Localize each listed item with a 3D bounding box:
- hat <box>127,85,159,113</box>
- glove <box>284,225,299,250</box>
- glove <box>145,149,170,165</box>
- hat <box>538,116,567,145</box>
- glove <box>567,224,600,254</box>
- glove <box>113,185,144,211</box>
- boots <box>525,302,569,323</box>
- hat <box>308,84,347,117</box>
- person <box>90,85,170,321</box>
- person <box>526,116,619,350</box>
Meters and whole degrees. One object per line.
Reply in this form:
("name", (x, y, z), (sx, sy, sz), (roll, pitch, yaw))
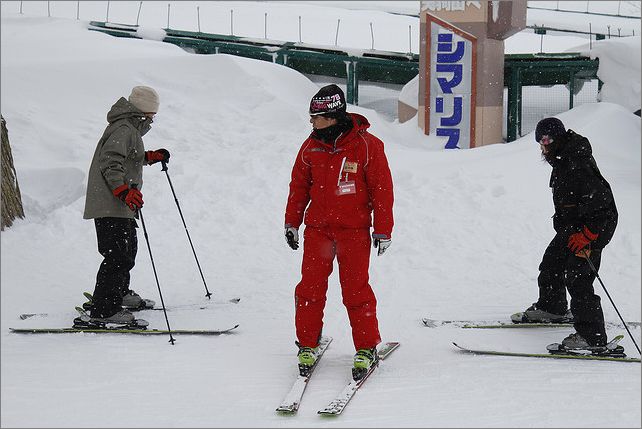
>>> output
("hat", (-2.423, -1.582, 11.698), (0.450, 0.398, 0.321), (13, 0, -28))
("glove", (-0.348, 0.298, 10.852), (0.234, 0.247, 0.096), (-2, 2, 24))
("glove", (-2.268, -0.826, 11.963), (0.293, 0.130, 0.202), (-5, 8, -33))
("hat", (3.079, -1.152, 11.352), (0.420, 0.346, 0.324), (-7, 19, 12))
("glove", (3.420, 0.309, 11.007), (0.256, 0.386, 0.142), (44, 4, 9))
("glove", (-2.581, -0.229, 11.402), (0.375, 0.359, 0.319), (2, 6, -12))
("boots", (3.133, 1.374, 11.892), (0.690, 0.282, 0.234), (4, -1, 2))
("hat", (0.088, -1.489, 10.794), (0.549, 0.345, 0.395), (-11, 26, -15))
("person", (-2.684, -0.150, 11.528), (0.959, 3.223, 0.691), (-1, 7, -31))
("person", (3.380, 0.239, 11.247), (0.628, 3.015, 1.102), (-3, 8, -42))
